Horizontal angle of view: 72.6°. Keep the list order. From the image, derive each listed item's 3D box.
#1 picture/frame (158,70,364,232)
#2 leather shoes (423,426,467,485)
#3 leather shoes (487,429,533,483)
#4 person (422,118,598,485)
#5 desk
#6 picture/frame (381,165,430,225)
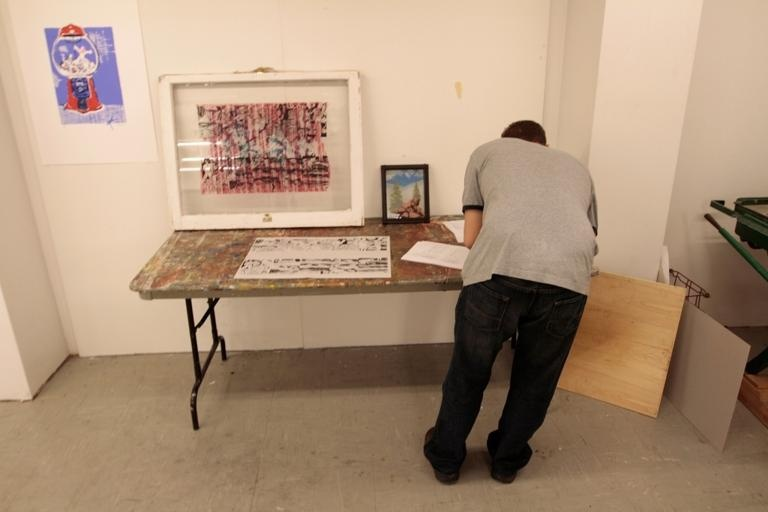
[{"bbox_3d":[-0.820,-0.722,3.429,1.082,0.844,0.104,-1,6,-2],"label":"picture/frame"},{"bbox_3d":[0.323,1.168,2.986,0.143,0.351,0.144,-3,-24,4],"label":"leather shoes"},{"bbox_3d":[0.674,1.132,3.011,0.251,0.143,0.288,-6,17,26],"label":"leather shoes"},{"bbox_3d":[0.644,0.349,2.782,0.846,1.838,0.487,-1,23,4],"label":"person"},{"bbox_3d":[-0.341,0.437,3.503,2.162,1.019,0.939,-2,23,-6],"label":"desk"},{"bbox_3d":[0.135,-0.411,3.559,0.417,0.492,0.036,-1,-4,-6],"label":"picture/frame"}]
